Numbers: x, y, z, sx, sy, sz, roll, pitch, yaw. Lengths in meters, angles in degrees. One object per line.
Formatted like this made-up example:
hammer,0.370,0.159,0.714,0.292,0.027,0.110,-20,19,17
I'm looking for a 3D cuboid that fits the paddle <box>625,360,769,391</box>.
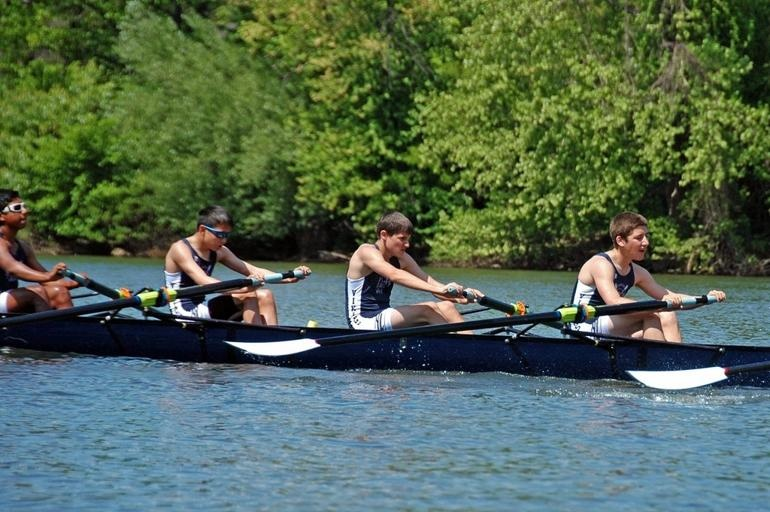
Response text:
paddle,4.814,1.936,19.699,2.623,0.167,0.661,-3,23,1
